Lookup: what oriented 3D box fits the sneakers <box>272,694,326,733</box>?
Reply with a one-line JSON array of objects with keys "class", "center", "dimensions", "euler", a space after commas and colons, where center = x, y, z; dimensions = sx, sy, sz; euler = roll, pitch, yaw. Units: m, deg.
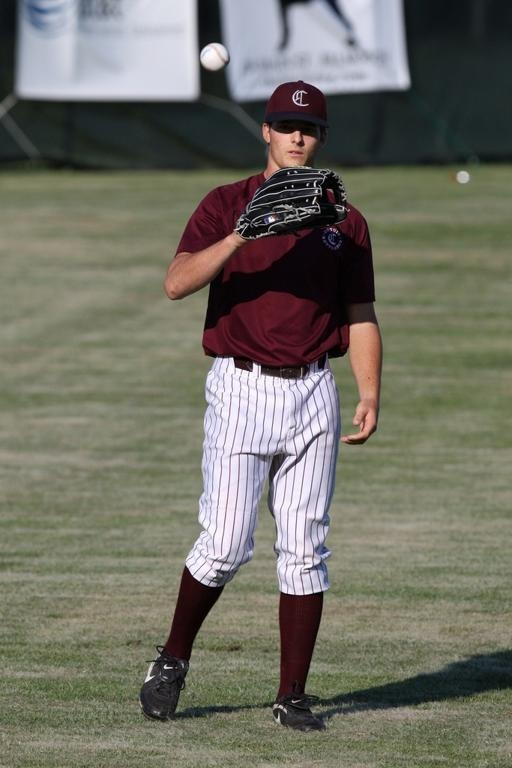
[{"class": "sneakers", "center": [0.118, 0.918, 3.560], "dimensions": [0.083, 0.057, 0.143], "euler": [0, -2, -33]}]

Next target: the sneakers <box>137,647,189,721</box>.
[{"class": "sneakers", "center": [-0.259, 0.858, 3.636], "dimensions": [0.091, 0.107, 0.228], "euler": [27, 35, -20]}]

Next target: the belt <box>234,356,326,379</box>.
[{"class": "belt", "center": [0.071, -0.043, 3.570], "dimensions": [0.267, 0.053, 0.077], "euler": [-1, 12, -17]}]

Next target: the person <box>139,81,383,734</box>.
[{"class": "person", "center": [0.030, 0.052, 3.683], "dimensions": [0.627, 1.816, 0.674], "euler": [3, 13, 4]}]

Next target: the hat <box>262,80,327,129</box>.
[{"class": "hat", "center": [0.117, -0.788, 3.600], "dimensions": [0.134, 0.093, 0.164], "euler": [5, 15, -6]}]
